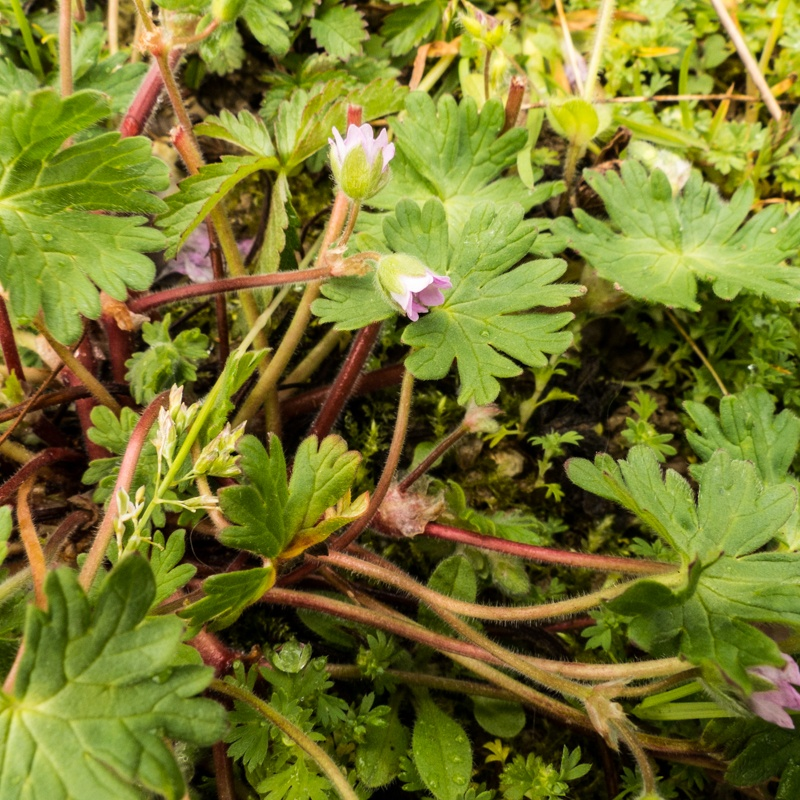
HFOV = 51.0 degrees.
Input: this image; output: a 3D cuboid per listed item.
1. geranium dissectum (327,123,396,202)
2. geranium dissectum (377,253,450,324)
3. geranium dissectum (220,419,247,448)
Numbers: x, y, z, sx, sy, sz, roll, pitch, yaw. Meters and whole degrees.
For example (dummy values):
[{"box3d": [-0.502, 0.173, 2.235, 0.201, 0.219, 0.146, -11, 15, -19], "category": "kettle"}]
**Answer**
[{"box3d": [-0.090, -0.505, 1.814, 0.139, 0.194, 0.148, 9, 54, 4], "category": "geranium dissectum"}, {"box3d": [0.038, -0.243, 1.813, 0.092, 0.113, 0.182, -2, 31, -44], "category": "geranium dissectum"}, {"box3d": [-0.340, 0.074, 1.713, 0.053, 0.028, 0.056, 23, 44, 11], "category": "geranium dissectum"}]
